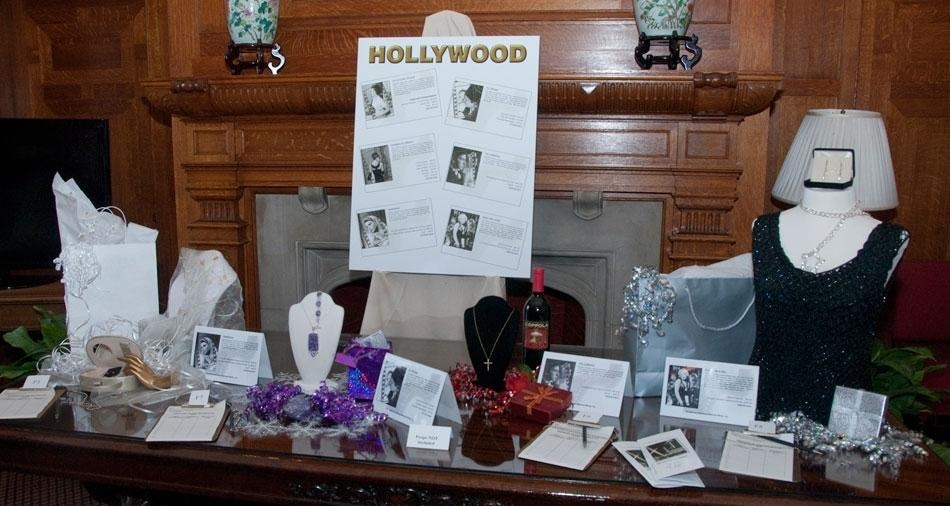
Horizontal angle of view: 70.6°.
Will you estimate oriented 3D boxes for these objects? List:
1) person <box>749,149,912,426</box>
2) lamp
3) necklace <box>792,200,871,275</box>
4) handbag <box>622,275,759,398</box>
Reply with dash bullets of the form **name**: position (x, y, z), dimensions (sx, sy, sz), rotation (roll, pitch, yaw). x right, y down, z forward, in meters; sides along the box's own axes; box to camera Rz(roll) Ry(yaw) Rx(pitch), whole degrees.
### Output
- **person**: position (1.643, 0.151, 3.236), dimensions (0.641, 1.242, 0.437), rotation (10, 37, 32)
- **lamp**: position (2.167, -0.628, 4.124), dimensions (0.777, 0.537, 0.752), rotation (-7, 16, -22)
- **necklace**: position (1.580, -0.075, 3.072), dimensions (0.245, 0.323, 0.040), rotation (34, 7, 26)
- **handbag**: position (1.005, 0.397, 3.345), dimensions (0.740, 0.646, 0.250), rotation (5, 14, 6)
